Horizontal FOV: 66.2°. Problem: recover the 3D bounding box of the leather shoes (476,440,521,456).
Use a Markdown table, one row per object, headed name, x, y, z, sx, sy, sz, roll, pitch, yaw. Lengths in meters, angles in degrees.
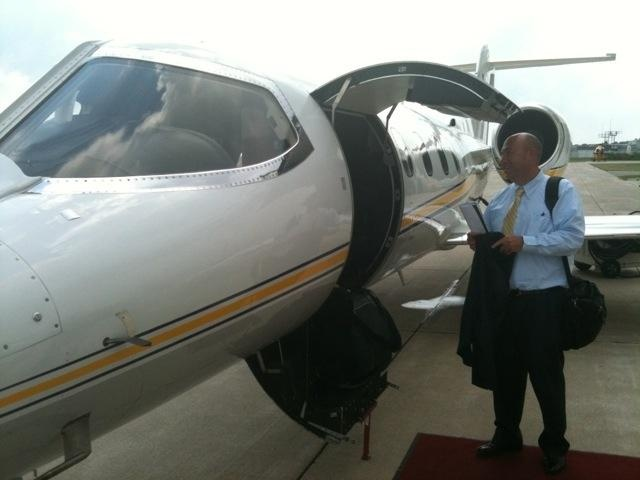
| name | x | y | z | sx | sy | sz | roll | pitch | yaw |
| --- | --- | --- | --- | --- | --- | --- | --- | --- | --- |
| leather shoes | 1.450 | 1.713 | 4.099 | 0.395 | 0.161 | 0.136 | 3 | -15 | 1 |
